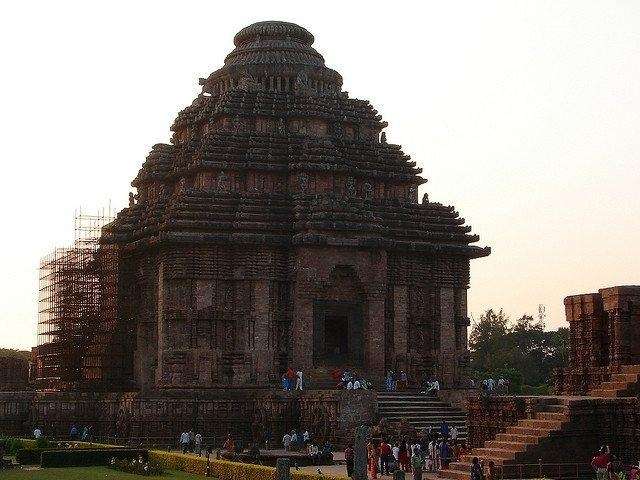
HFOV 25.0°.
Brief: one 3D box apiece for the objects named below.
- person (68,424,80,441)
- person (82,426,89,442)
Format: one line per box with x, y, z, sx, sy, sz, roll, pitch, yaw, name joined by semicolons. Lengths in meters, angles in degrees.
-10.871;8.543;63.967;0.473;0.833;1.185;2;-17;-10;person
-10.307;8.612;63.848;0.297;0.789;1.125;2;-17;-10;person
